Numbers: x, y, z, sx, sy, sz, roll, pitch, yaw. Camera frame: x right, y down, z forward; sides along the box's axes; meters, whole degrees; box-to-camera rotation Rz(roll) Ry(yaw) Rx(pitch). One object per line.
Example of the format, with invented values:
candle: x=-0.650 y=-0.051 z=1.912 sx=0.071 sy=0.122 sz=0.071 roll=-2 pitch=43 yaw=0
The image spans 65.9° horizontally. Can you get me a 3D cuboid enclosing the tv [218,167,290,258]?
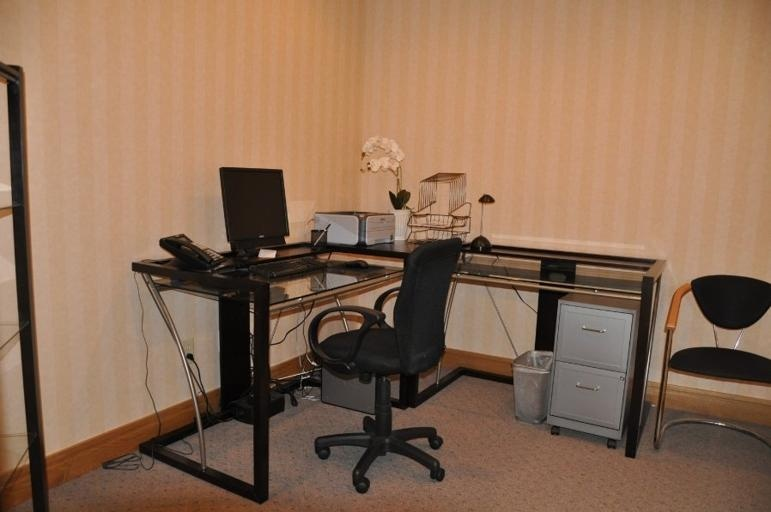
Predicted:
tv: x=-0.911 y=-0.295 z=4.046 sx=0.090 sy=0.579 sz=0.640 roll=-6 pitch=2 yaw=34

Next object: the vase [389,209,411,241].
vase: x=0.076 y=-0.253 z=4.827 sx=0.234 sy=0.275 sz=0.227 roll=-1 pitch=4 yaw=-3

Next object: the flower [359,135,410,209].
flower: x=0.009 y=-0.717 z=5.038 sx=0.420 sy=0.578 sz=0.578 roll=0 pitch=14 yaw=-3

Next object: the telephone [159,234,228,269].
telephone: x=-1.173 y=-0.032 z=3.589 sx=0.314 sy=0.116 sz=0.213 roll=12 pitch=19 yaw=3

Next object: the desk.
desk: x=0.127 y=0.314 z=3.825 sx=2.245 sy=0.925 sz=2.106 roll=4 pitch=8 yaw=34

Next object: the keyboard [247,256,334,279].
keyboard: x=-0.625 y=0.074 z=3.862 sx=0.199 sy=0.052 sz=0.272 roll=11 pitch=14 yaw=40

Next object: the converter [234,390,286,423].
converter: x=-0.912 y=1.067 z=4.257 sx=0.226 sy=0.142 sz=0.319 roll=6 pitch=10 yaw=37

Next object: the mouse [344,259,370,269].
mouse: x=-0.191 y=0.053 z=4.064 sx=0.129 sy=0.038 sz=0.072 roll=1 pitch=4 yaw=19
